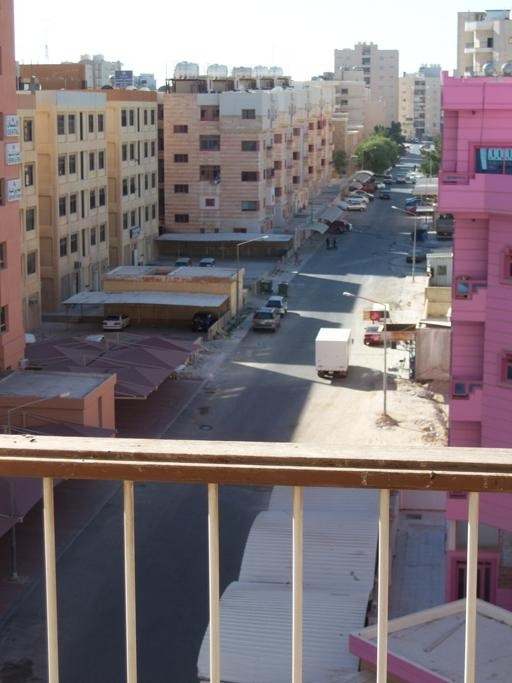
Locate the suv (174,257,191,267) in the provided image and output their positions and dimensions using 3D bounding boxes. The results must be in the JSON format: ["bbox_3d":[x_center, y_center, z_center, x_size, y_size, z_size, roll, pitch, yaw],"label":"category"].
[{"bbox_3d":[-6.831,-7.382,79.724,1.249,0.983,2.710,-1,10,3],"label":"suv"}]

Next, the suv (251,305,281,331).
[{"bbox_3d":[0.859,-1.609,59.281,1.087,0.993,2.381,3,17,8],"label":"suv"}]

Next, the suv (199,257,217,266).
[{"bbox_3d":[-4.628,-7.542,80.876,0.903,0.725,1.960,-2,11,2],"label":"suv"}]

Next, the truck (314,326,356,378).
[{"bbox_3d":[4.548,0.889,48.714,1.803,2.444,2.705,1,9,10],"label":"truck"}]

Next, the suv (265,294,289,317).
[{"bbox_3d":[1.591,-2.508,62.634,1.165,1.019,1.919,3,18,10],"label":"suv"}]

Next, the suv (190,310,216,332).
[{"bbox_3d":[-3.651,-1.379,59.401,1.045,0.932,1.829,4,18,12],"label":"suv"}]
